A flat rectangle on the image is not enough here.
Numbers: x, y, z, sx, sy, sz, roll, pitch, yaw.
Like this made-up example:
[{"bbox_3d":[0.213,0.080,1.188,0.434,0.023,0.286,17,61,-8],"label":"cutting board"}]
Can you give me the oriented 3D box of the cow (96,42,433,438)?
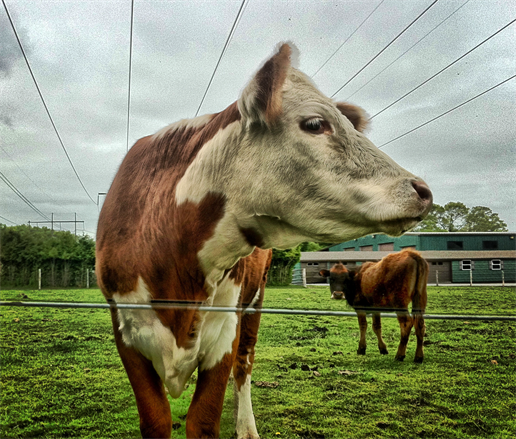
[{"bbox_3d":[-0.101,0.205,2.500,1.855,2.179,0.799,-1,-7,24],"label":"cow"}]
